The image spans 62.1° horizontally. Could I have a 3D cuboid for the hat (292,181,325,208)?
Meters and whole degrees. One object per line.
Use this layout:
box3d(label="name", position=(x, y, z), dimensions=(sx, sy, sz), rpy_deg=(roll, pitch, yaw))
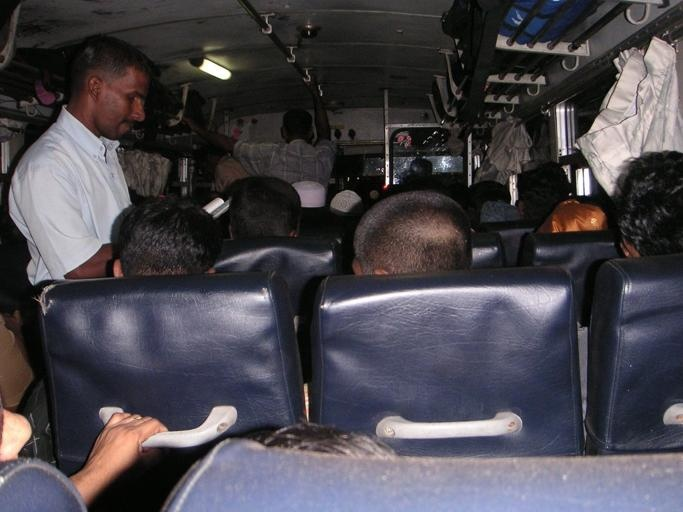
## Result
box3d(label="hat", position=(-0.271, -0.532, 4.873), dimensions=(0.317, 0.175, 0.315), rpy_deg=(-1, 12, 2))
